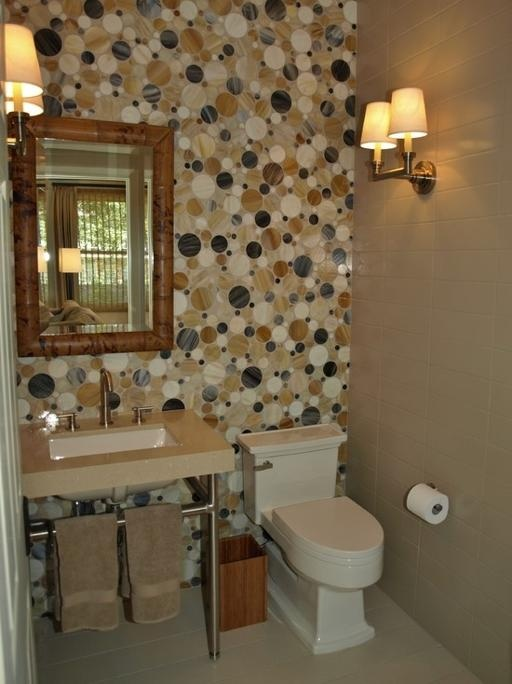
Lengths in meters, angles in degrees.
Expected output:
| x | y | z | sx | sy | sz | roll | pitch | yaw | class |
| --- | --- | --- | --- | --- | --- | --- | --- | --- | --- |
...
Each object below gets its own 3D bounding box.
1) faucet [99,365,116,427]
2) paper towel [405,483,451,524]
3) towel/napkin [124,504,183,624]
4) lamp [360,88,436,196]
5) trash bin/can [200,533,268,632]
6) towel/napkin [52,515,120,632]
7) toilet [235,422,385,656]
| x | y | z | sx | sy | sz | roll | pitch | yaw | class |
| --- | --- | --- | --- | --- | --- | --- | --- | --- | --- |
| -0.613 | 0.217 | 2.151 | 0.057 | 0.227 | 0.174 | -2 | 8 | -14 | faucet |
| 0.674 | 0.625 | 2.046 | 0.139 | 0.111 | 0.120 | -3 | 8 | -21 | paper towel |
| -0.359 | 0.792 | 1.885 | 0.252 | 0.397 | 0.102 | -2 | 5 | -23 | towel/napkin |
| 0.563 | -0.755 | 2.041 | 0.233 | 0.362 | 0.338 | -5 | 12 | -15 | lamp |
| -0.164 | 1.111 | 2.337 | 0.300 | 0.294 | 0.233 | -6 | -19 | 27 | trash bin/can |
| -0.584 | 0.804 | 1.833 | 0.221 | 0.419 | 0.129 | -4 | 8 | -27 | towel/napkin |
| 0.229 | 0.831 | 2.304 | 0.486 | 0.756 | 0.737 | -3 | 8 | -17 | toilet |
